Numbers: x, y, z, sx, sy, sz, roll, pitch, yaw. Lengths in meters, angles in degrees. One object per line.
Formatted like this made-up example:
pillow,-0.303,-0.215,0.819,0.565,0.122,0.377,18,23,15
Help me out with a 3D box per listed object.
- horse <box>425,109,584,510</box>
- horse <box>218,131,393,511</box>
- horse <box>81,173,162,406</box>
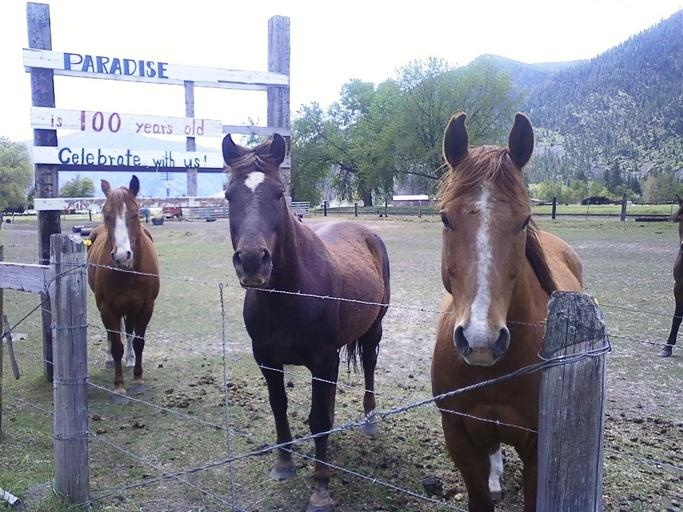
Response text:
horse,1.483,0.647,6.616,1.006,3.858,1.742,3,7,32
horse,-0.315,0.586,7.840,1.216,3.747,2.537,2,6,24
horse,-2.834,0.320,9.336,0.894,2.713,1.867,-2,6,-20
